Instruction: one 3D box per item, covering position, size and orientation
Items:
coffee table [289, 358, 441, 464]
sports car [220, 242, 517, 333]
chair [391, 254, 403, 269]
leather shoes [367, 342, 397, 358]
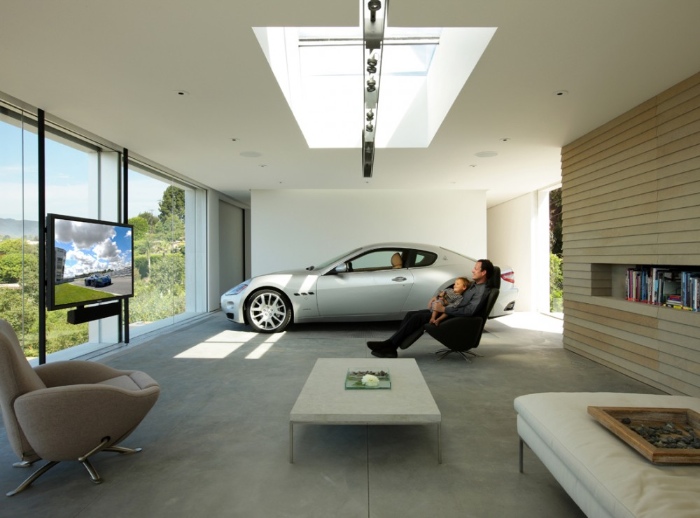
[{"bbox_3d":[0.143,1.290,3.957,1.150,0.440,1.159,-1,7,1],"label":"coffee table"},{"bbox_3d":[0.243,0.521,8.281,4.525,1.235,1.908,1,-6,2],"label":"sports car"},{"bbox_3d":[0.802,0.037,7.745,0.248,0.215,0.196,7,-16,-24],"label":"chair"},{"bbox_3d":[0.427,1.199,5.932,0.367,0.139,0.205,11,-4,-4],"label":"leather shoes"}]
